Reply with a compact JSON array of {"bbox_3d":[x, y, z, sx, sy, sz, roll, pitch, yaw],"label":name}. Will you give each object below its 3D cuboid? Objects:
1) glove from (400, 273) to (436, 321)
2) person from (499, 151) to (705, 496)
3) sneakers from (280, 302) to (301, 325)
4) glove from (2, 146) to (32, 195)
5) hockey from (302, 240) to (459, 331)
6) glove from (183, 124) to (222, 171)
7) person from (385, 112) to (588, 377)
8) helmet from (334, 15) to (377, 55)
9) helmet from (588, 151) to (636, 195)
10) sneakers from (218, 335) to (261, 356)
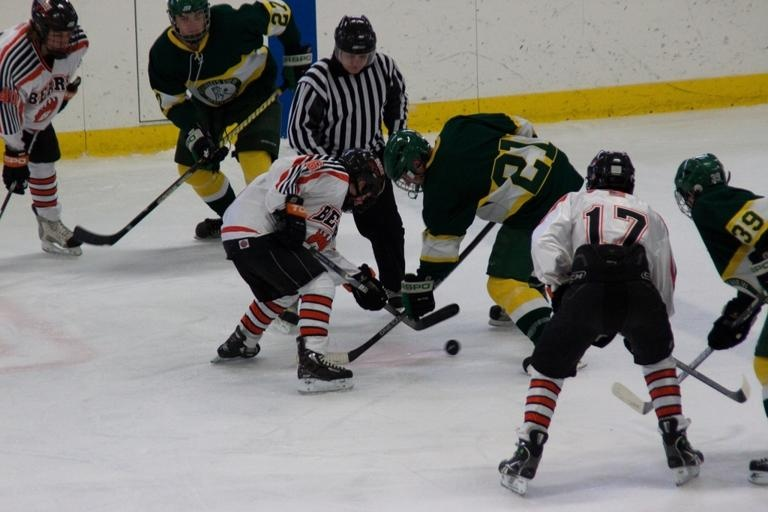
[{"bbox_3d":[0.217,0.221,4.910,0.180,0.218,0.229,0,11,7],"label":"glove"},{"bbox_3d":[1.034,0.245,4.050,0.795,1.350,0.581,4,14,7],"label":"person"},{"bbox_3d":[-0.524,0.335,5.083,0.098,0.049,0.132,-15,0,-8],"label":"sneakers"},{"bbox_3d":[-2.358,-0.550,5.862,0.182,0.290,0.073,-6,16,-40],"label":"glove"},{"bbox_3d":[-0.068,0.101,4.943,1.015,0.326,0.106,28,56,5],"label":"hockey"},{"bbox_3d":[-1.166,-0.709,5.963,0.257,0.188,0.252,46,28,6],"label":"glove"},{"bbox_3d":[0.629,-0.103,4.902,1.028,1.218,0.920,-19,15,-21],"label":"person"},{"bbox_3d":[-0.167,-1.285,5.294,0.214,0.208,0.235,-3,22,-7],"label":"helmet"},{"bbox_3d":[1.028,-0.383,4.210,0.181,0.195,0.213,3,11,5],"label":"helmet"},{"bbox_3d":[-0.766,0.489,4.891,0.227,0.146,0.102,4,25,-5],"label":"sneakers"}]
